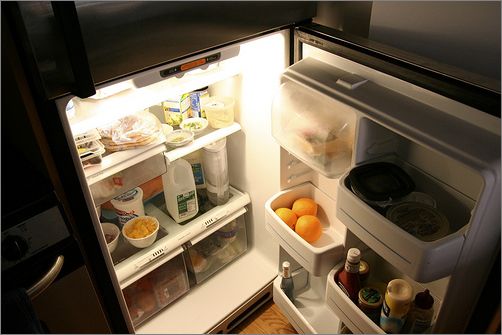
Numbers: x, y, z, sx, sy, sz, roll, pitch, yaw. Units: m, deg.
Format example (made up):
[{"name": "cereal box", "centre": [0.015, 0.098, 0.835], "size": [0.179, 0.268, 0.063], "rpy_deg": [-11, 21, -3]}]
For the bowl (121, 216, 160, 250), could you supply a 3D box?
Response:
[{"name": "bowl", "centre": [-0.555, 0.317, 1.754], "size": [0.164, 0.087, 0.162], "rpy_deg": [-1, 43, 0]}]

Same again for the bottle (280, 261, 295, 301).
[{"name": "bottle", "centre": [0.185, 0.574, 1.742], "size": [0.085, 0.276, 0.082], "rpy_deg": [-3, 44, 3]}]

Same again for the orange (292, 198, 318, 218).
[{"name": "orange", "centre": [0.257, 0.189, 1.653], "size": [0.094, 0.089, 0.087], "rpy_deg": [14, 48, 21]}]

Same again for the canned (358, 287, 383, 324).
[{"name": "canned", "centre": [0.450, 0.524, 1.307], "size": [0.082, 0.084, 0.079], "rpy_deg": [24, 50, 32]}]

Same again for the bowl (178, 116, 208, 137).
[{"name": "bowl", "centre": [-0.298, -0.226, 1.822], "size": [0.105, 0.039, 0.105], "rpy_deg": [0, 45, 0]}]
